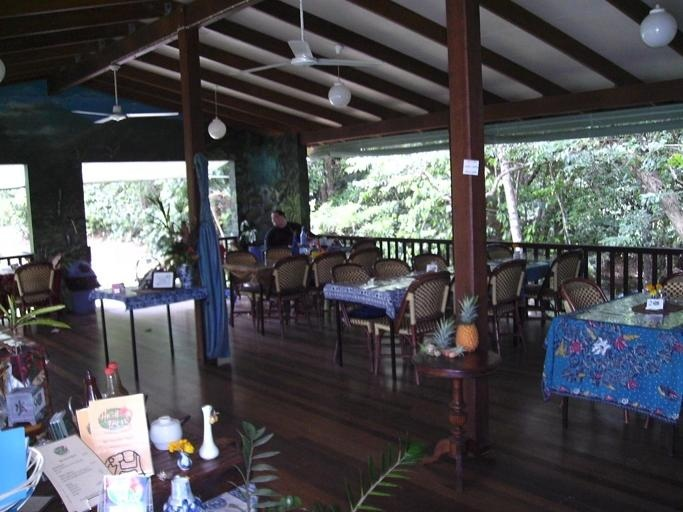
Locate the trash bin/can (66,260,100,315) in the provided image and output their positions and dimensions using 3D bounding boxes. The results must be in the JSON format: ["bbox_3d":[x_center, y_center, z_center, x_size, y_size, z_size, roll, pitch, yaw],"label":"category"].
[{"bbox_3d":[-4.444,0.612,9.060,0.538,0.869,0.601,-3,-7,-20],"label":"trash bin/can"}]

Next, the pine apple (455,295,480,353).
[{"bbox_3d":[0.886,0.474,3.642,0.155,0.354,0.368,0,8,16],"label":"pine apple"}]

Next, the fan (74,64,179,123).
[{"bbox_3d":[-3.397,-2.469,7.818,1.149,0.723,1.232,4,22,1],"label":"fan"}]

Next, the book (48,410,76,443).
[{"bbox_3d":[-1.262,0.761,2.352,0.037,0.139,0.097,-6,4,12],"label":"book"}]

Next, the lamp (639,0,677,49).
[{"bbox_3d":[2.645,-1.915,4.315,0.250,0.347,0.215,-9,10,-39],"label":"lamp"}]
